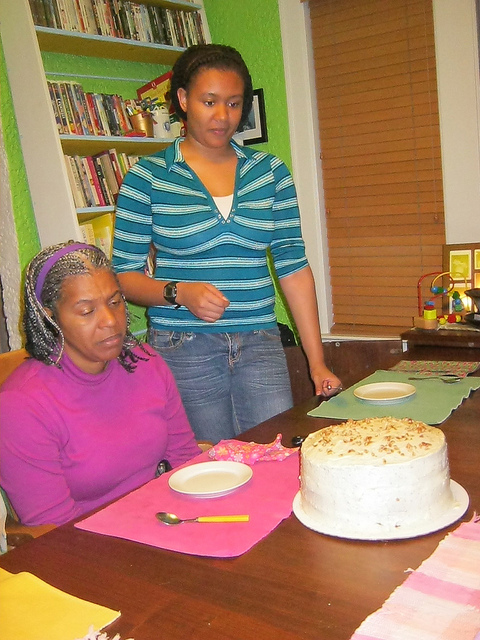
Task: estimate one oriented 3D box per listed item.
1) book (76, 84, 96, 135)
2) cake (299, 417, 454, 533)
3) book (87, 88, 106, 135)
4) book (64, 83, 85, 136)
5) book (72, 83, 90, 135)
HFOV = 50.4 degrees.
[{"bbox_3d":[-0.735,-1.014,2.450,0.027,0.215,0.065,-12,9,30],"label":"book"},{"bbox_3d":[0.200,0.192,0.732,0.208,0.080,0.190,1,8,-4],"label":"cake"},{"bbox_3d":[-0.698,-1.019,2.483,0.049,0.174,0.138,-12,5,2],"label":"book"},{"bbox_3d":[-0.775,-0.993,2.387,0.025,0.159,0.056,-9,7,6],"label":"book"},{"bbox_3d":[-0.734,-1.003,2.417,0.059,0.211,0.029,-20,8,-3],"label":"book"}]
